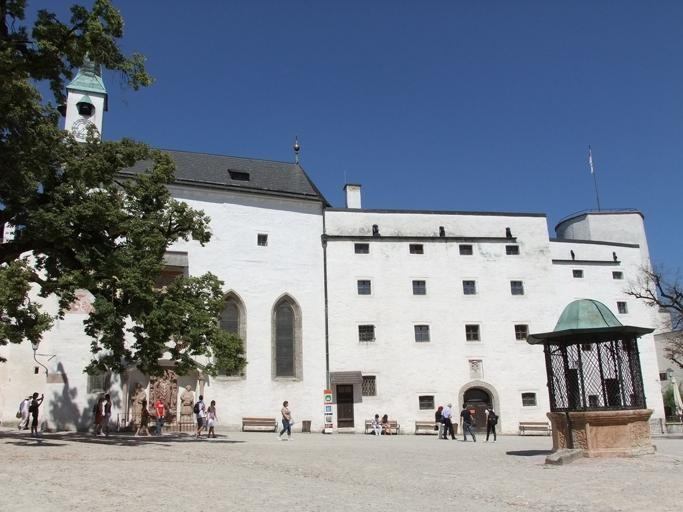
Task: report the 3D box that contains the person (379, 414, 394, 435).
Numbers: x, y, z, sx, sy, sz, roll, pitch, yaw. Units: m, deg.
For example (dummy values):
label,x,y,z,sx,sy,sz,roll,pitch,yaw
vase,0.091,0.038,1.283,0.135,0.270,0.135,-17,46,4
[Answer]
label,x,y,z,sx,sy,sz,roll,pitch,yaw
person,2.453,9.578,36.832,0.983,1.512,0.888,3,-24,-3

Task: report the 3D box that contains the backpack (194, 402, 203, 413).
label,x,y,z,sx,sy,sz,roll,pitch,yaw
backpack,-6.476,6.802,29.232,0.384,0.480,0.518,4,-12,10

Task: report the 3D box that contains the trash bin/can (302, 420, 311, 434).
label,x,y,z,sx,sy,sz,roll,pitch,yaw
trash bin/can,-2.061,9.400,35.948,0.608,0.773,0.592,0,-15,3

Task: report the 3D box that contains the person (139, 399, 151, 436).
label,x,y,z,sx,sy,sz,roll,pitch,yaw
person,-8.874,7.190,29.074,0.479,1.497,1.629,1,-14,-16

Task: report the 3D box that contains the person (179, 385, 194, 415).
label,x,y,z,sx,sy,sz,roll,pitch,yaw
person,-8.172,7.605,34.177,0.722,1.513,0.209,0,-14,-13
